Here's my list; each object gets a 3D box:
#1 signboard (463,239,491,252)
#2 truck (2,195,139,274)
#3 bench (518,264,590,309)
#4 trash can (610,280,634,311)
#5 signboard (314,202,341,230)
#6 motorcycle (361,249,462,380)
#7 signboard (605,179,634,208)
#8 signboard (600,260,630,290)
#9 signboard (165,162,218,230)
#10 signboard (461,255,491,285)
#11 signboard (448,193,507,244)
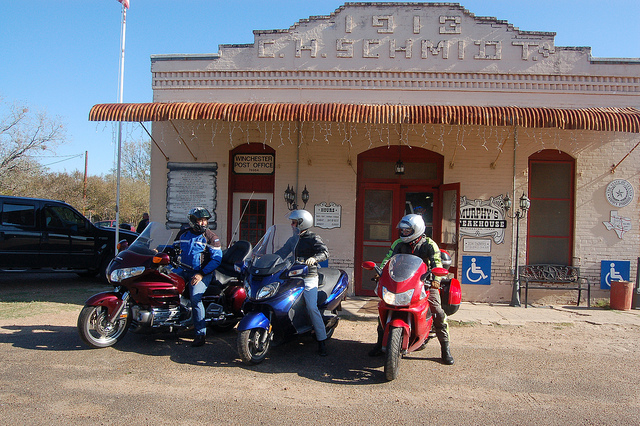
[{"bbox_3d":[4.352,0.892,18.090,0.765,0.370,0.046,3,-1,7],"label":"signboard"},{"bbox_3d":[-7.565,0.727,18.873,4.138,1.869,2.380,-2,0,-31],"label":"truck"},{"bbox_3d":[6.418,1.976,17.920,1.938,1.159,0.545,3,-1,2],"label":"bench"},{"bbox_3d":[8.022,2.193,17.294,0.544,0.761,0.363,2,-2,25],"label":"trash can"},{"bbox_3d":[0.181,0.049,18.349,0.796,0.825,0.063,2,-1,18],"label":"signboard"},{"bbox_3d":[1.980,2.058,13.542,2.056,1.778,1.262,4,-2,-32],"label":"motorcycle"},{"bbox_3d":[8.292,-0.553,18.008,0.773,0.783,0.053,3,-1,0],"label":"signboard"},{"bbox_3d":[8.110,1.702,17.802,0.730,0.802,0.076,-1,-1,-2],"label":"signboard"},{"bbox_3d":[-3.580,-0.453,17.837,1.760,2.196,0.214,0,-2,-4],"label":"signboard"},{"bbox_3d":[4.359,1.591,18.040,0.738,0.772,0.104,1,-3,4],"label":"signboard"},{"bbox_3d":[4.381,0.194,18.041,1.285,1.201,0.142,1,-2,2],"label":"signboard"}]
